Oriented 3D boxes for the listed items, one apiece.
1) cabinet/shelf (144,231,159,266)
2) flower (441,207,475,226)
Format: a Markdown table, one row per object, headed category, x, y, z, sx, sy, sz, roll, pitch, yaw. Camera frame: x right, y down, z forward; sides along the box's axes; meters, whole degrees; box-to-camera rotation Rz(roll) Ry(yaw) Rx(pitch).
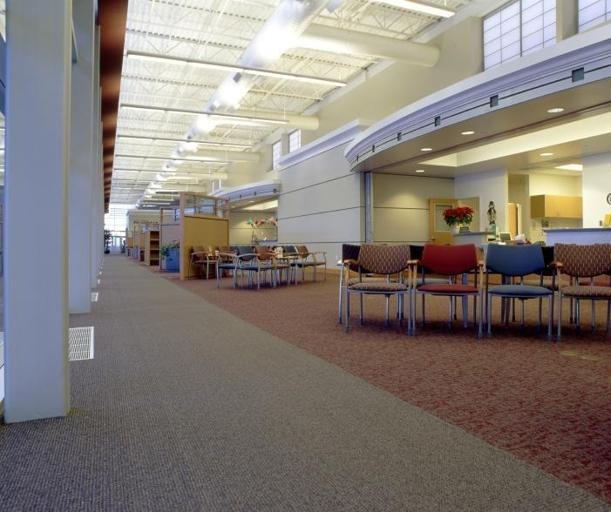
| category | x | y | z | sx | sy | sz | roll | pitch | yaw |
| --- | --- | --- | --- | --- | --- | --- | --- | --- | --- |
| cabinet/shelf | -6.266 | -0.313 | 18.326 | 0.498 | 1.427 | 0.796 | 0 | 0 | -16 |
| flower | 2.971 | -0.769 | 8.862 | 0.535 | 0.412 | 0.552 | 1 | -5 | -7 |
